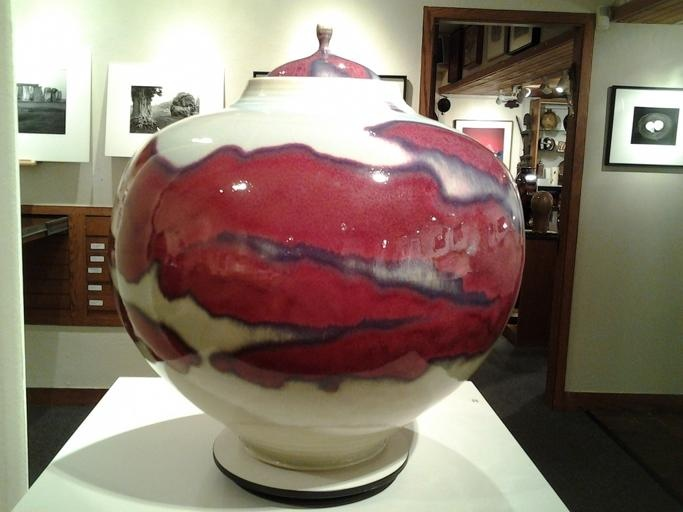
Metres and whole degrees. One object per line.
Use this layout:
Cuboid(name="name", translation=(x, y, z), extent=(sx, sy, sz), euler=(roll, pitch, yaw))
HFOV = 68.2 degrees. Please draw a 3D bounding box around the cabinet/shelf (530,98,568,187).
Cuboid(name="cabinet/shelf", translation=(2.556, -1.358, 6.195), extent=(0.267, 1.109, 0.431), euler=(-1, 13, -44))
